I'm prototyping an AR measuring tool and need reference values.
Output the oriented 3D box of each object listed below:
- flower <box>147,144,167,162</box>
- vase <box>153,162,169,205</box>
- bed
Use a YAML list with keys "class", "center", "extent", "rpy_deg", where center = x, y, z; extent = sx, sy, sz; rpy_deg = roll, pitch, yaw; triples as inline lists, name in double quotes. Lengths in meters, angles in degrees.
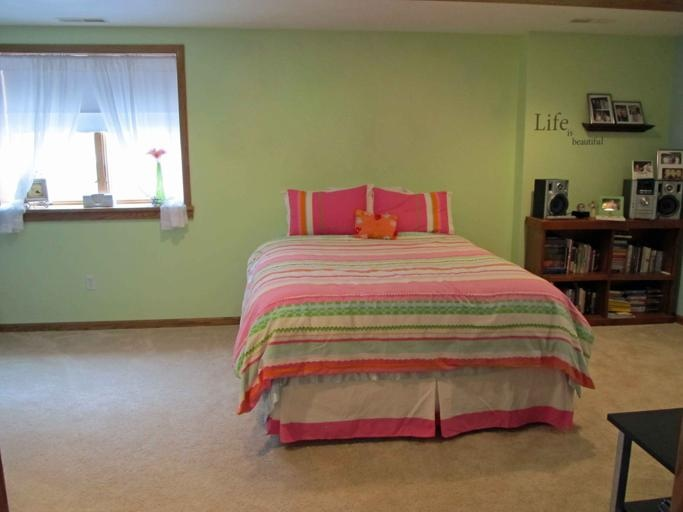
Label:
- class: "flower"
  center: [-1.665, -0.922, 4.987]
  extent: [0.128, 0.076, 0.123]
  rpy_deg: [1, 2, -2]
- class: "vase"
  center: [-1.671, -0.662, 5.047]
  extent: [0.112, 0.391, 0.141]
  rpy_deg: [-4, 10, -9]
- class: "bed"
  center: [0.382, 0.547, 3.675]
  extent: [2.108, 1.065, 0.968]
  rpy_deg: [-3, 9, -5]
